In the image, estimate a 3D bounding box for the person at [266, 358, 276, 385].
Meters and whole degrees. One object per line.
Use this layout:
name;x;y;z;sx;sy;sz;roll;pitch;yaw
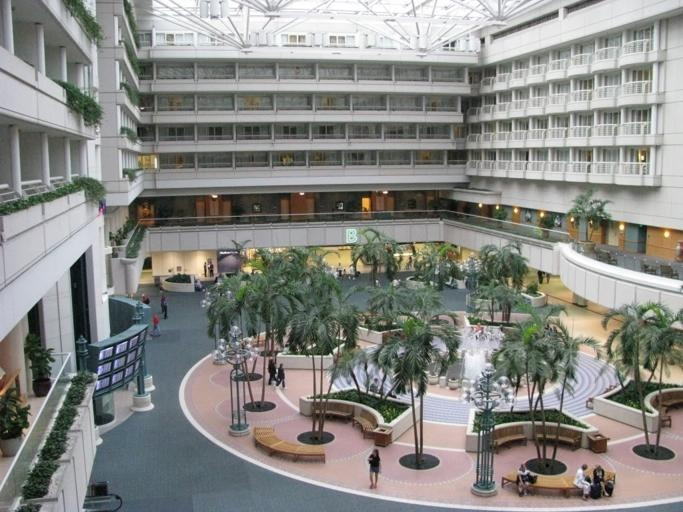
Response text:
person;-3.774;6.272;29.402;0.377;1.642;0.752;-3;10;-13

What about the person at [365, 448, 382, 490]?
person;1.174;7.731;20.049;0.366;1.517;0.738;0;10;3

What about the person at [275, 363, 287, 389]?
person;-3.361;6.471;29.697;0.517;1.249;1.188;-2;10;-7

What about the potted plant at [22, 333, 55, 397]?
potted plant;-8.694;3.245;15.685;0.646;1.343;1.767;-7;12;-33

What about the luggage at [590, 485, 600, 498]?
luggage;8.998;8.304;19.191;0.479;0.492;0.149;-5;11;-21

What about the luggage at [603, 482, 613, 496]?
luggage;9.501;8.280;19.392;0.324;0.474;0.359;4;11;27

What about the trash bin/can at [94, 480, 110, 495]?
trash bin/can;-7.861;7.616;17.703;0.525;0.318;0.350;-1;10;1

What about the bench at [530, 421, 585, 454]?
bench;9.282;7.695;23.147;1.856;1.030;0.997;-1;10;1
